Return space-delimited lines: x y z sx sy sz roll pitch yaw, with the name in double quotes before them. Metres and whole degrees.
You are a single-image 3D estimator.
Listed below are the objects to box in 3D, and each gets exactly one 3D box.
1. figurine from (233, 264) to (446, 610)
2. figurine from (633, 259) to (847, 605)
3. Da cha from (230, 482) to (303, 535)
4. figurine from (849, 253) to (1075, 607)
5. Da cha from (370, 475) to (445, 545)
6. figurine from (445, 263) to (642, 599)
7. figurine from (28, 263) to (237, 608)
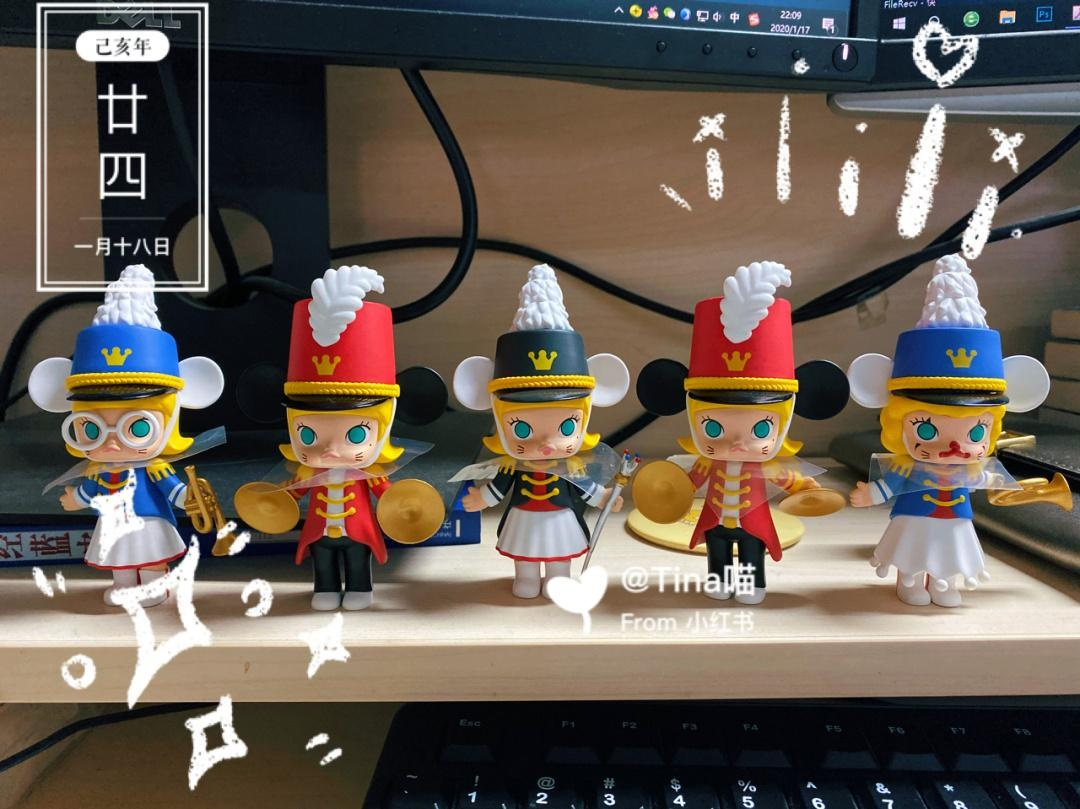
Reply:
"figurine" -0.140 0.020 0.621 0.150 0.223 0.098 -1 16 -7
"figurine" 0.154 0.008 0.664 0.172 0.227 0.131 -11 20 -35
"Da cha" -0.189 0.073 0.629 0.041 0.009 0.042 28 29 -19
"figurine" 0.276 0.016 0.628 0.095 0.229 0.104 -2 16 -10
"Da cha" -0.092 0.076 0.634 0.047 0.043 0.015 -1 6 -3
"figurine" 0.003 0.015 0.648 0.127 0.219 0.114 -1 16 -5
"figurine" -0.280 0.017 0.635 0.119 0.218 0.117 -10 19 -33
